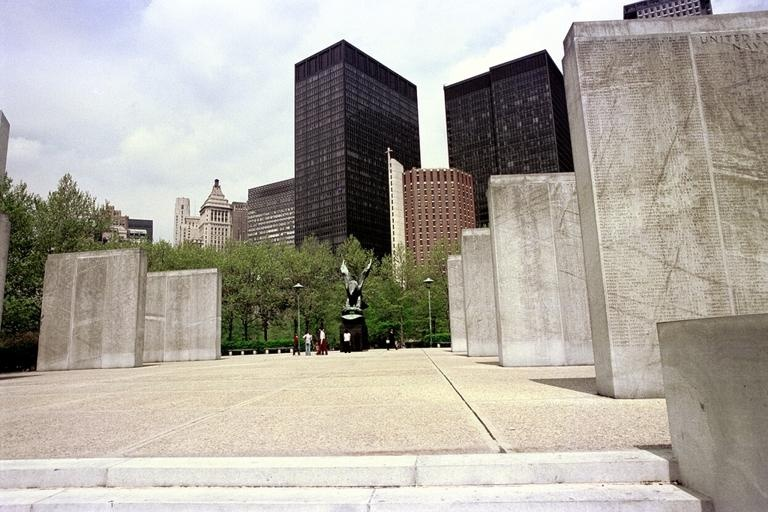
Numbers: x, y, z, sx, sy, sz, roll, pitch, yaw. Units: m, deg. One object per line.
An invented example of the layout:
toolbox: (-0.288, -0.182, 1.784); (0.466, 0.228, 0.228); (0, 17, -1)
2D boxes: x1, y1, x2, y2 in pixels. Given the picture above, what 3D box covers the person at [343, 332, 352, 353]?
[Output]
person: (-2.560, 5.924, 40.938); (0.494, 1.444, 1.530); (-1, -9, -4)
